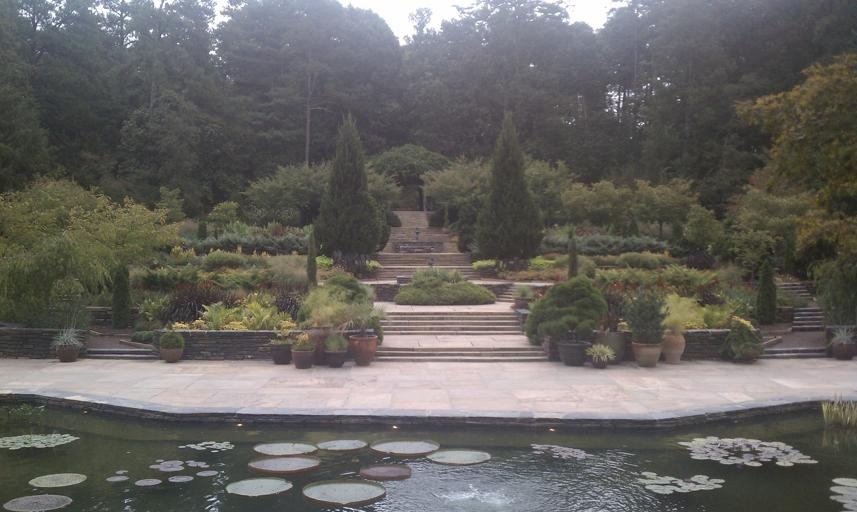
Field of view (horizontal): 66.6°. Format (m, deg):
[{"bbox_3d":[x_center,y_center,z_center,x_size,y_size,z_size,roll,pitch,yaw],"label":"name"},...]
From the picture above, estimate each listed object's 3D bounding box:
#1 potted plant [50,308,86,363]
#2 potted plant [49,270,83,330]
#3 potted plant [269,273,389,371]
[{"bbox_3d":[-13.246,2.883,24.059,0.974,1.510,1.166,1,-1,-29],"label":"potted plant"},{"bbox_3d":[-13.795,1.804,25.027,1.456,1.959,1.267,-8,-6,-11],"label":"potted plant"},{"bbox_3d":[-3.594,2.414,24.084,3.317,2.106,3.045,-1,-2,32],"label":"potted plant"}]
